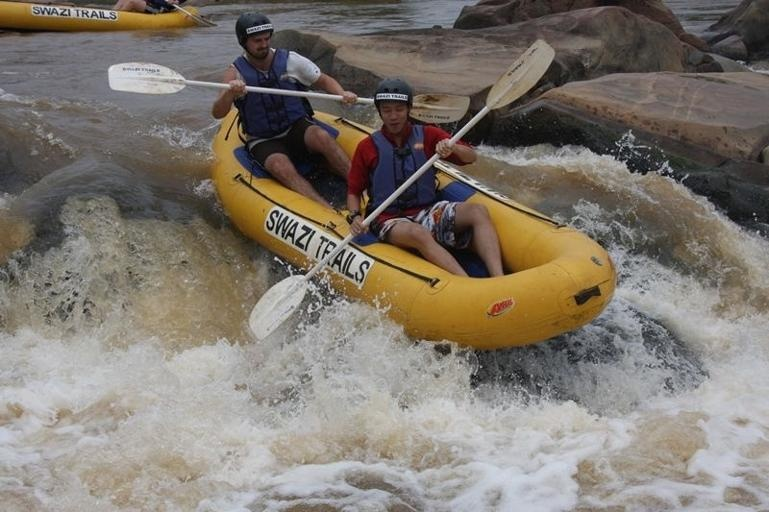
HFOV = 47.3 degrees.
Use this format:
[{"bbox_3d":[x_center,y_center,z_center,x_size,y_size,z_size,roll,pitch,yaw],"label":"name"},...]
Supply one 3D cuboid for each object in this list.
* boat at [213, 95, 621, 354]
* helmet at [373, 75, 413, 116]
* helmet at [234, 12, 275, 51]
[{"bbox_3d":[0.094,-0.191,8.409,3.769,0.998,1.730,27,47,33],"label":"boat"},{"bbox_3d":[0.098,-1.488,8.022,0.250,0.312,0.237,1,13,3],"label":"helmet"},{"bbox_3d":[-1.339,-2.288,8.773,0.440,0.342,0.316,15,29,35],"label":"helmet"}]
